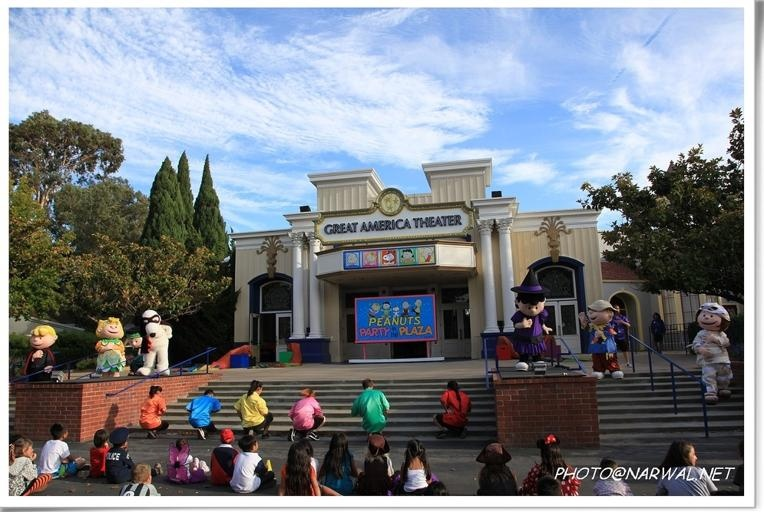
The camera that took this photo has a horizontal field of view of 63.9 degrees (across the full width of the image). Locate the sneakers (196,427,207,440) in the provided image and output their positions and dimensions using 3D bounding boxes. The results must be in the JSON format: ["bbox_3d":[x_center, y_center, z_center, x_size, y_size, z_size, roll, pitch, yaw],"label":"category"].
[{"bbox_3d":[-4.761,4.689,16.262,0.154,0.422,0.170,-14,12,-10],"label":"sneakers"}]

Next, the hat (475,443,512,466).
[{"bbox_3d":[1.999,3.418,10.776,0.501,0.190,0.507,-4,6,12],"label":"hat"}]

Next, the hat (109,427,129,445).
[{"bbox_3d":[-5.426,3.721,12.648,0.320,0.306,0.316,2,-6,-28],"label":"hat"}]

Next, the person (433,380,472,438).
[{"bbox_3d":[1.847,4.031,15.921,1.190,1.648,1.010,6,-9,-17],"label":"person"}]
